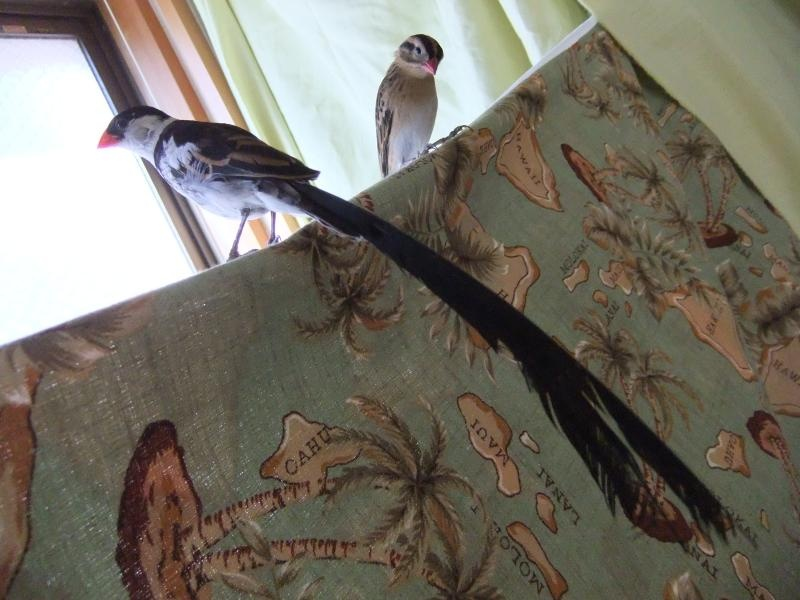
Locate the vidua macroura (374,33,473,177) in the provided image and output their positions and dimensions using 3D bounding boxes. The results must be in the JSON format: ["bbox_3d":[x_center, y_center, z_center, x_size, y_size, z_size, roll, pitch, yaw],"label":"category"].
[{"bbox_3d":[-0.002,-0.371,1.756,0.221,0.261,0.118,2,20,44],"label":"vidua macroura"}]

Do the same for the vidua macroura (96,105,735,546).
[{"bbox_3d":[0.053,0.041,1.203,0.245,0.874,0.193,-66,-12,20],"label":"vidua macroura"}]
